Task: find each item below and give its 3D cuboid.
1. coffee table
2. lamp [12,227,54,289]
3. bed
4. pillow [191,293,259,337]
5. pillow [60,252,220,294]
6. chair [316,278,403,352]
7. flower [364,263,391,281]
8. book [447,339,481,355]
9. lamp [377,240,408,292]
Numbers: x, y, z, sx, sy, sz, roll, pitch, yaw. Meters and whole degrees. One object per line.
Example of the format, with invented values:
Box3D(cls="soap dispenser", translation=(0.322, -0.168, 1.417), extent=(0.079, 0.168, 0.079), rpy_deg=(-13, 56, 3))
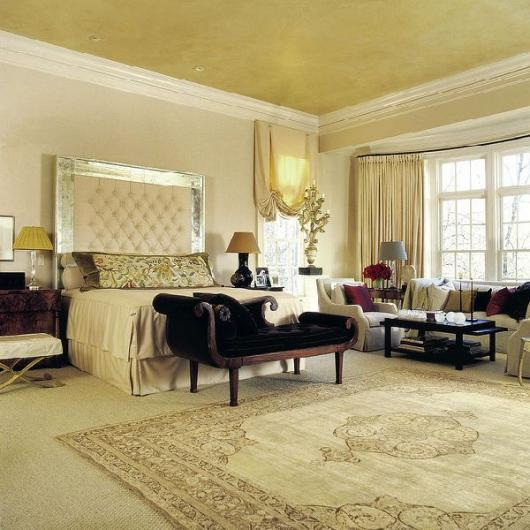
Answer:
Box3D(cls="coffee table", translation=(1.985, 0.818, 4.897), extent=(0.995, 0.465, 1.037), rpy_deg=(2, -3, -40))
Box3D(cls="lamp", translation=(-2.352, -0.082, 4.480), extent=(0.354, 0.667, 0.561), rpy_deg=(1, -2, -24))
Box3D(cls="bed", translation=(-0.659, -0.081, 5.134), extent=(2.957, 2.548, 2.439), rpy_deg=(-2, 1, -41))
Box3D(cls="pillow", translation=(-0.273, 0.350, 3.139), extent=(0.420, 0.147, 0.314), rpy_deg=(4, 3, -40))
Box3D(cls="pillow", translation=(-1.267, 0.083, 4.790), extent=(1.386, 0.386, 0.526), rpy_deg=(2, -3, -37))
Box3D(cls="chair", translation=(1.056, 0.615, 5.798), extent=(0.859, 0.931, 1.106), rpy_deg=(0, -2, -36))
Box3D(cls="flower", translation=(1.658, 0.113, 6.568), extent=(0.336, 0.272, 0.301), rpy_deg=(0, -1, -3))
Box3D(cls="book", translation=(2.076, 0.858, 4.683), extent=(0.216, 0.072, 0.235), rpy_deg=(-2, 1, -40))
Box3D(cls="lamp", translation=(1.927, -0.168, 6.828), extent=(0.456, 0.510, 0.401), rpy_deg=(-1, 4, 10))
